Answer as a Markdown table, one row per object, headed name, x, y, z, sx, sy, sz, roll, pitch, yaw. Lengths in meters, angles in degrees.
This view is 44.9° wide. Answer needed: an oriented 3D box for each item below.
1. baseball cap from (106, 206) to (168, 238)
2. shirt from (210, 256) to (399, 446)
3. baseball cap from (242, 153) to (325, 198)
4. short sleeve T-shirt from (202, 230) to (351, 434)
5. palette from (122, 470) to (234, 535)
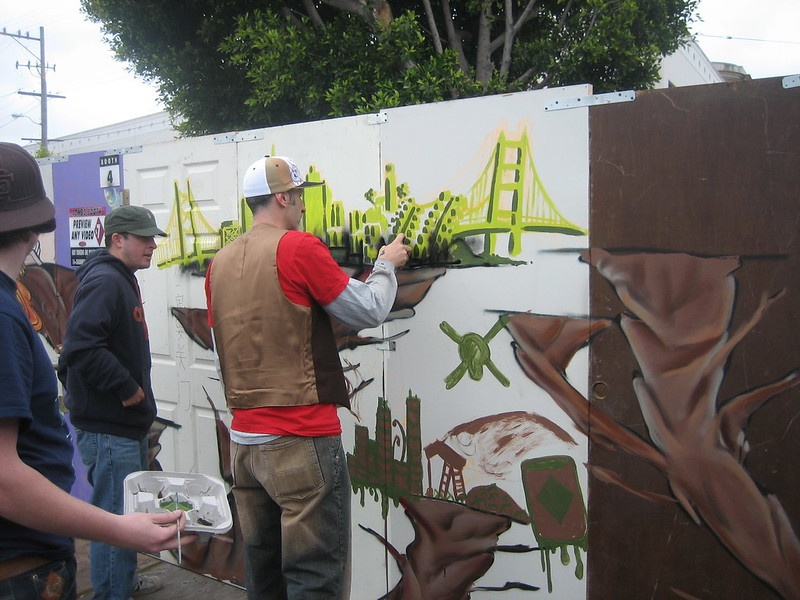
| name | x | y | z | sx | sy | sz | roll | pitch | yaw |
| --- | --- | --- | --- | --- | --- | --- | --- | --- | --- |
| baseball cap | -1.814 | -0.516 | 6.591 | 0.262 | 0.165 | 0.212 | 2 | 8 | -20 |
| shirt | -0.601 | 0.075 | 5.862 | 0.639 | 1.251 | 1.099 | 7 | 9 | 28 |
| baseball cap | -0.674 | -0.742 | 5.875 | 0.494 | 0.271 | 0.354 | 0 | 4 | 25 |
| short sleeve T-shirt | -0.765 | 0.222 | 5.901 | 0.850 | 1.330 | 0.622 | -7 | -8 | 22 |
| palette | -1.235 | 1.109 | 5.381 | 0.453 | 0.140 | 0.397 | 7 | 50 | -16 |
